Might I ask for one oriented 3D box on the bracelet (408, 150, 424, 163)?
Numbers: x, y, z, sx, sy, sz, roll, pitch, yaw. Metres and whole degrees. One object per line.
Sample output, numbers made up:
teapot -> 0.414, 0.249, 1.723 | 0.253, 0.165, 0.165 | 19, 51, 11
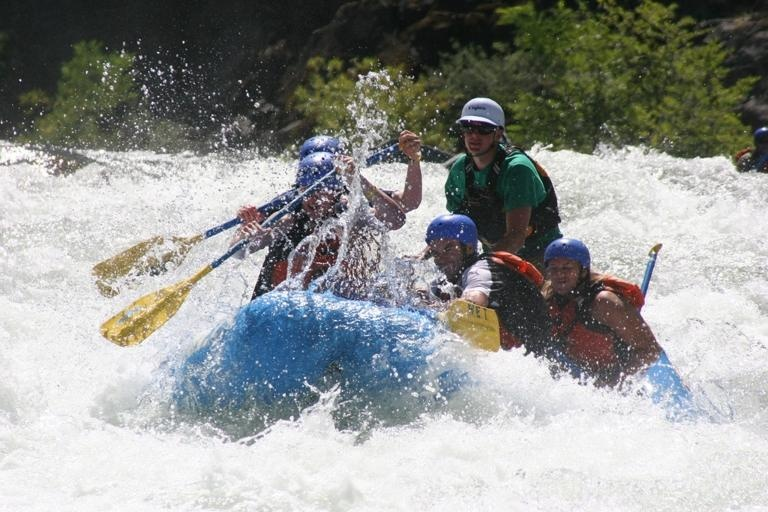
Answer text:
bracelet -> 0.386, -1.247, 12.663 | 0.166, 0.160, 0.154 | 10, -17, 7

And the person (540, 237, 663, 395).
person -> 2.502, 0.697, 12.017 | 1.434, 1.678, 0.737 | -21, 9, 27
